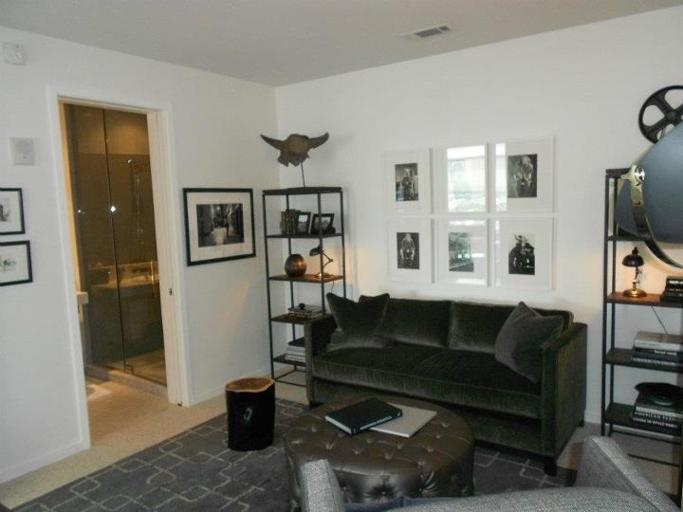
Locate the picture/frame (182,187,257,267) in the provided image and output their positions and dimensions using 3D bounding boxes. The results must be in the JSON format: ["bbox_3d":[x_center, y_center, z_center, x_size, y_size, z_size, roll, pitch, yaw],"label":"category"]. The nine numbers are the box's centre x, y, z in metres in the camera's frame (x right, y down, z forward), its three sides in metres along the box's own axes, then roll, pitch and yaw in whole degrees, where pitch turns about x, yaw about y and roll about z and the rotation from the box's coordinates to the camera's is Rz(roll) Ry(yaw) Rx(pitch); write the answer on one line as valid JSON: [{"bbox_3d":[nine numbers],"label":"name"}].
[{"bbox_3d":[-1.279,-0.305,5.501,0.027,0.755,0.778,3,7,38],"label":"picture/frame"}]

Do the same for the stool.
[{"bbox_3d":[0.307,1.253,3.423,0.830,0.443,0.855,0,9,9],"label":"stool"}]

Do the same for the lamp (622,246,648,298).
[{"bbox_3d":[2.335,0.108,4.298,0.183,0.378,0.352,4,13,28],"label":"lamp"}]

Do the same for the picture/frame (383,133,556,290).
[{"bbox_3d":[1.258,-0.436,5.055,1.433,1.139,0.057,5,10,35],"label":"picture/frame"}]
